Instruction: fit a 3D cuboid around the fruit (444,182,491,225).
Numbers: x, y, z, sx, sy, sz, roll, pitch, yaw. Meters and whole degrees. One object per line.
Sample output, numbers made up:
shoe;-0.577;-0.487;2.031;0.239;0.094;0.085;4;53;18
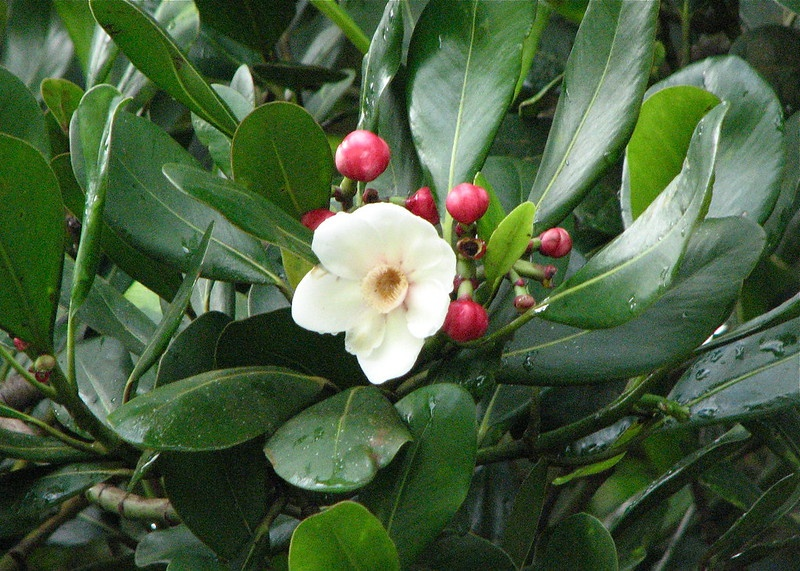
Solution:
fruit;0.084;-0.102;1.451;0.048;0.049;0.049;7;-21;-25

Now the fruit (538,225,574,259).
fruit;0.203;-0.059;1.500;0.045;0.038;0.046;12;22;1

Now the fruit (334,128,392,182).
fruit;-0.050;-0.170;1.496;0.064;0.067;0.067;4;-1;15

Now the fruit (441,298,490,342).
fruit;0.082;0.042;1.457;0.063;0.040;0.057;-8;13;-25
